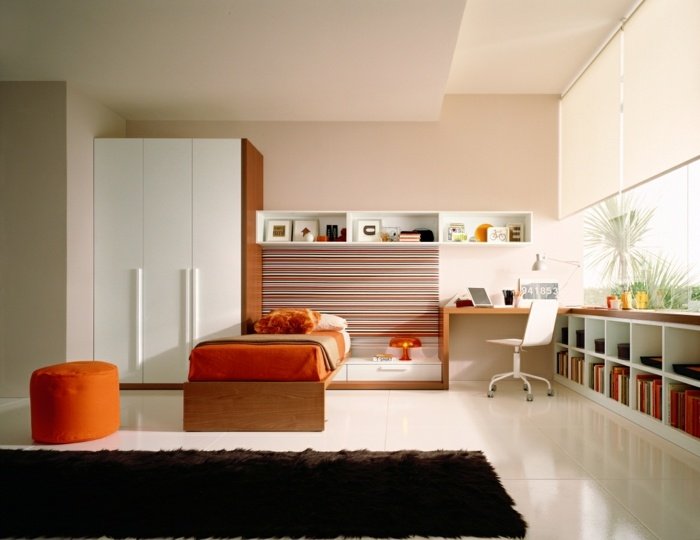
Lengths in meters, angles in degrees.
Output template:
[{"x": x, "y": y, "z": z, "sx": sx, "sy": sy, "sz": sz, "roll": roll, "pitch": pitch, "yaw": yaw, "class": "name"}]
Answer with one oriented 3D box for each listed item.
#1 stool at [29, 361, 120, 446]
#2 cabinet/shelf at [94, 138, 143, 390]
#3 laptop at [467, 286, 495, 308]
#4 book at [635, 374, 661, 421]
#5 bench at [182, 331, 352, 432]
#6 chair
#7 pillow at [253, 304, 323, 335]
[{"x": -2.038, "y": 0.923, "z": 3.997, "sx": 0.595, "sy": 0.511, "sz": 0.548, "roll": 0, "pitch": -3, "yaw": 8, "class": "stool"}, {"x": -2.386, "y": -0.107, "z": 5.511, "sx": 0.481, "sy": 2.481, "sz": 0.206, "roll": 0, "pitch": 3, "yaw": -1, "class": "cabinet/shelf"}, {"x": 1.397, "y": 0.282, "z": 5.710, "sx": 0.228, "sy": 0.157, "sz": 0.198, "roll": 1, "pitch": -4, "yaw": -6, "class": "laptop"}, {"x": 2.289, "y": 0.952, "z": 4.172, "sx": 0.236, "sy": 0.327, "sz": 0.344, "roll": 0, "pitch": -3, "yaw": 13, "class": "book"}, {"x": -0.707, "y": 0.885, "z": 4.298, "sx": 1.140, "sy": 0.654, "sz": 0.492, "roll": 0, "pitch": 3, "yaw": 2, "class": "bench"}, {"x": 1.699, "y": 0.780, "z": 5.403, "sx": 0.643, "sy": 0.954, "sz": 0.634, "roll": 3, "pitch": -4, "yaw": -40, "class": "chair"}, {"x": -0.630, "y": 0.506, "z": 5.336, "sx": 0.605, "sy": 0.214, "sz": 0.330, "roll": 0, "pitch": 3, "yaw": 11, "class": "pillow"}]
